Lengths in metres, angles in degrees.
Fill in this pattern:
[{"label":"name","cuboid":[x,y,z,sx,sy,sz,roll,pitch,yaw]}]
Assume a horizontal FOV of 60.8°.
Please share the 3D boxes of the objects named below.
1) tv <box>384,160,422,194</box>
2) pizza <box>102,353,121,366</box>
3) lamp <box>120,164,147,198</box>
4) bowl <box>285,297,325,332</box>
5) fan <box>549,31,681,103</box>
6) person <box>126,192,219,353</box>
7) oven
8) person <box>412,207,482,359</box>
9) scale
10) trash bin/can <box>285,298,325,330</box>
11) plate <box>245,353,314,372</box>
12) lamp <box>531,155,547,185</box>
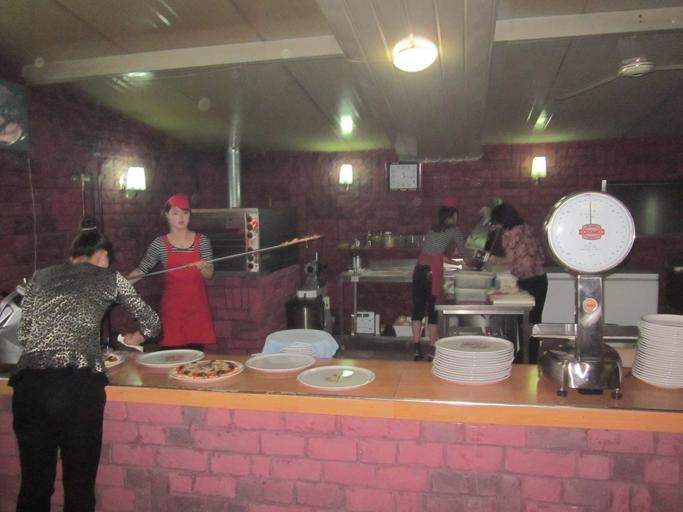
[{"label":"tv","cuboid":[0.691,-0.891,6.435,0.355,0.309,0.296,0,4,7]},{"label":"pizza","cuboid":[-1.215,0.540,3.019,0.074,0.012,0.073,1,12,-32]},{"label":"lamp","cuboid":[-1.596,-0.573,4.373,0.055,0.204,0.227,8,7,5]},{"label":"bowl","cuboid":[-0.378,0.492,5.848,0.287,0.459,0.490,0,1,9]},{"label":"fan","cuboid":[2.152,-1.341,4.164,0.734,0.255,1.328,1,11,5]},{"label":"person","cuboid":[-1.220,0.296,4.076,0.693,1.348,0.495,-11,23,-40]},{"label":"oven","cuboid":[-0.866,-0.178,5.456,0.569,0.421,0.782,0,3,13]},{"label":"person","cuboid":[0.922,0.266,5.420,0.510,1.519,1.767,3,12,12]},{"label":"scale","cuboid":[1.064,0.170,2.534,0.364,0.891,0.171,4,12,18]},{"label":"trash bin/can","cuboid":[-0.378,0.578,6.002,0.332,0.550,0.327,0,3,5]},{"label":"plate","cuboid":[-0.321,0.547,3.003,0.355,0.036,0.273,2,11,9]},{"label":"lamp","cuboid":[2.249,-0.980,6.512,0.230,0.285,0.135,-2,12,-12]}]
